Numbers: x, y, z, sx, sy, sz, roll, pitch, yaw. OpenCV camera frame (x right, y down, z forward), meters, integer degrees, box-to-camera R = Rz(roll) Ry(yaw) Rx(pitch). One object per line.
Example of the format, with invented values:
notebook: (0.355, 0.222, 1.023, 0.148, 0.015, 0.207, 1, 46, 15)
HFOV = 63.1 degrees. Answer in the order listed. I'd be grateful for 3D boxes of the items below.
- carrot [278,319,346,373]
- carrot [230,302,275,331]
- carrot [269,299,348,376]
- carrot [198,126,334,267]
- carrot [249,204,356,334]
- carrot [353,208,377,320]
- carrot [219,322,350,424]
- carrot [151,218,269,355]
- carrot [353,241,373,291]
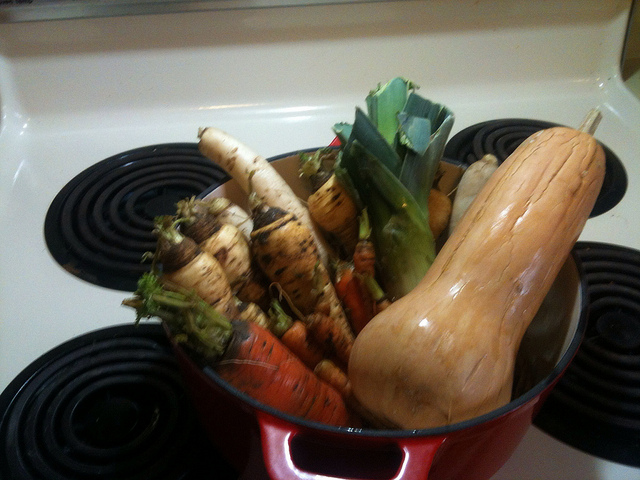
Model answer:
carrot: (-0.022, 0.149, 0.753, 0.027, 0.063, 0.063, -30, 22, 37)
carrot: (-0.095, 0.105, 0.741, 0.046, 0.036, 0.050, 13, 2, 3)
carrot: (-0.020, 0.141, 0.753, 0.039, 0.154, 0.040, -25, 25, 37)
carrot: (-0.065, -0.080, 0.873, 0.351, 0.098, 0.080, 39, 65, 18)
carrot: (-0.032, 0.046, 0.773, 0.061, 0.201, 0.063, -35, 20, 3)
carrot: (0.069, 0.028, 0.804, 0.028, 0.183, 0.029, -3, 5, 8)
carrot: (-0.049, 0.187, 0.751, 0.090, 0.199, 0.078, -48, 16, -1)
carrot: (-0.167, 0.062, 0.706, 0.159, 0.143, 0.112, 22, 41, 27)
carrot: (0.065, 0.039, 0.795, 0.021, 0.074, 0.022, 1, -7, -9)
